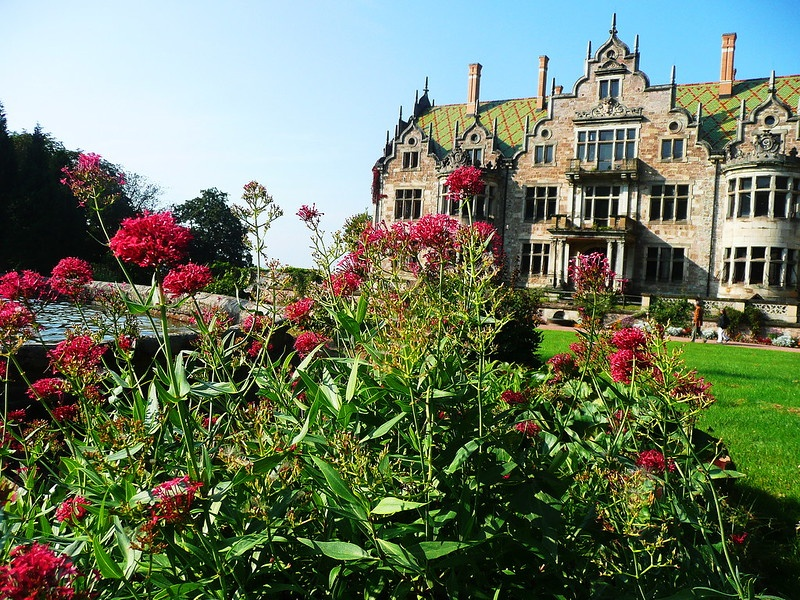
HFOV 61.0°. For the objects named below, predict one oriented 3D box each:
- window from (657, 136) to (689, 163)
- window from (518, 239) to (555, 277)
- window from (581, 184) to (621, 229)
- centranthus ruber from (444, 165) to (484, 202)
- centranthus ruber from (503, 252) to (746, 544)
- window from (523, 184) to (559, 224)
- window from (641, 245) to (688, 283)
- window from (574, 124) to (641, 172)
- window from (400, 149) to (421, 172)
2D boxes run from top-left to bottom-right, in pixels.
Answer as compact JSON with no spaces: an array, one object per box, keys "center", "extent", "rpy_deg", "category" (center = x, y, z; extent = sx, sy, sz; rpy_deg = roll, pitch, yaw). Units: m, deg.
[{"center":[10.116,-5.564,25.054],"extent":[0.978,1.041,0.111],"rpy_deg":[-2,-3,36],"category":"window"},{"center":[5.543,-1.679,27.316],"extent":[0.216,1.731,1.478],"rpy_deg":[8,-8,-41],"category":"window"},{"center":[7.777,-3.626,26.197],"extent":[1.784,2.203,0.098],"rpy_deg":[2,5,33],"category":"window"},{"center":[0.345,-0.666,3.836],"extent":[0.209,0.226,0.215],"rpy_deg":[-4,12,-10],"category":"centranthus ruber"},{"center":[1.055,0.252,3.412],"extent":[0.744,1.650,0.919],"rpy_deg":[-5,-3,6],"category":"centranthus ruber"},{"center":[5.771,-3.944,27.554],"extent":[1.460,1.782,0.191],"rpy_deg":[12,18,35],"category":"window"},{"center":[9.846,-1.338,25.112],"extent":[1.272,1.448,0.159],"rpy_deg":[3,4,36],"category":"window"},{"center":[7.962,-5.849,26.209],"extent":[2.201,1.631,0.885],"rpy_deg":[-6,3,22],"category":"window"},{"center":[0.497,-6.143,29.920],"extent":[0.991,1.222,0.163],"rpy_deg":[0,4,28],"category":"window"}]
